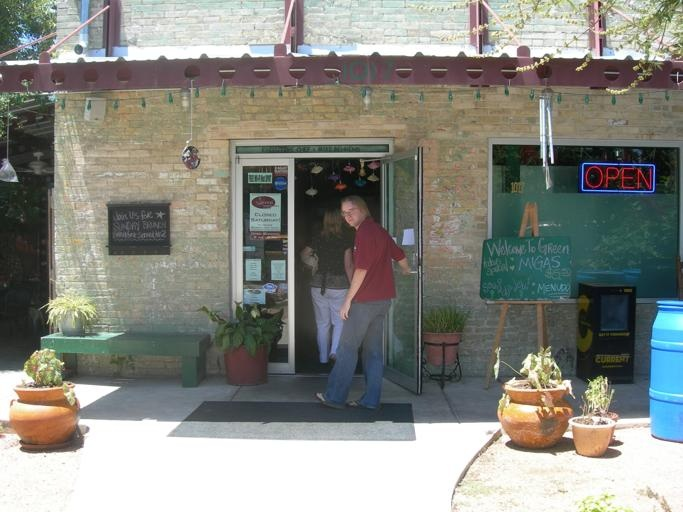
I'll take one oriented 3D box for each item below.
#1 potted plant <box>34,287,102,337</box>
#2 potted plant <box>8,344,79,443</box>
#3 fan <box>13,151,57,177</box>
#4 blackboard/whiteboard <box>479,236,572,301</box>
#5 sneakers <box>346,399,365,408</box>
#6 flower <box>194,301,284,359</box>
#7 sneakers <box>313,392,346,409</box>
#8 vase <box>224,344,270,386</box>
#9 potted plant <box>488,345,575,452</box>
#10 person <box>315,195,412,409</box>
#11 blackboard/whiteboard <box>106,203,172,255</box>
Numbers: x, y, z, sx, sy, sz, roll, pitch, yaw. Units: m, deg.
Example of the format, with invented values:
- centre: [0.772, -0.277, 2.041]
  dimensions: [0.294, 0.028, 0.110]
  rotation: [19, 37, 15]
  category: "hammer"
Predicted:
- centre: [-3.453, 0.764, 9.634]
  dimensions: [0.602, 0.463, 0.604]
  rotation: [0, 7, -45]
  category: "potted plant"
- centre: [-2.976, 1.482, 7.915]
  dimensions: [0.882, 1.172, 0.869]
  rotation: [-1, -5, -2]
  category: "potted plant"
- centre: [-5.719, -1.693, 13.906]
  dimensions: [0.704, 0.521, 1.116]
  rotation: [-5, 12, -22]
  category: "fan"
- centre: [2.248, 0.157, 9.044]
  dimensions: [0.818, 0.573, 0.079]
  rotation: [0, -1, 36]
  category: "blackboard/whiteboard"
- centre: [0.164, 1.683, 8.595]
  dimensions: [0.236, 0.085, 0.084]
  rotation: [-5, -5, 41]
  category: "sneakers"
- centre: [-1.144, 0.939, 9.439]
  dimensions: [0.810, 0.445, 0.717]
  rotation: [24, 8, 18]
  category: "flower"
- centre: [-0.134, 1.666, 8.616]
  dimensions: [0.366, 0.141, 0.135]
  rotation: [9, 6, 27]
  category: "sneakers"
- centre: [-1.189, 1.373, 9.503]
  dimensions: [0.512, 0.368, 0.509]
  rotation: [0, -2, -1]
  category: "vase"
- centre: [1.886, 1.470, 7.984]
  dimensions: [0.953, 1.220, 0.952]
  rotation: [2, -1, -41]
  category: "potted plant"
- centre: [0.265, 0.543, 8.560]
  dimensions: [0.695, 2.395, 0.834]
  rotation: [5, 13, 27]
  category: "person"
- centre: [-2.634, -0.339, 9.785]
  dimensions: [0.818, 0.672, 0.123]
  rotation: [0, 11, 1]
  category: "blackboard/whiteboard"
